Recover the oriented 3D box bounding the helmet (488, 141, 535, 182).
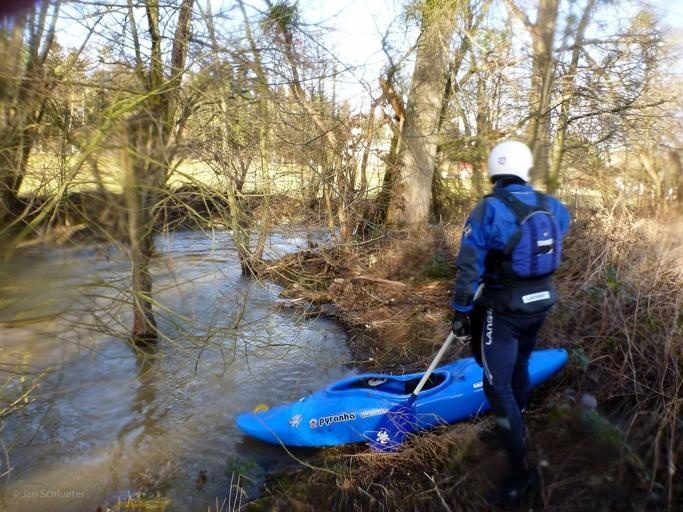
[{"bbox_3d":[1.716,-0.932,5.433,0.433,0.463,0.576,0,-1,28],"label":"helmet"}]

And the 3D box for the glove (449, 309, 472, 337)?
[{"bbox_3d":[1.221,0.683,5.319,0.194,0.244,0.268,1,4,-4],"label":"glove"}]

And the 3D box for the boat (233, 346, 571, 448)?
[{"bbox_3d":[0.662,1.564,5.774,2.836,0.505,1.466,-22,2,5],"label":"boat"}]
